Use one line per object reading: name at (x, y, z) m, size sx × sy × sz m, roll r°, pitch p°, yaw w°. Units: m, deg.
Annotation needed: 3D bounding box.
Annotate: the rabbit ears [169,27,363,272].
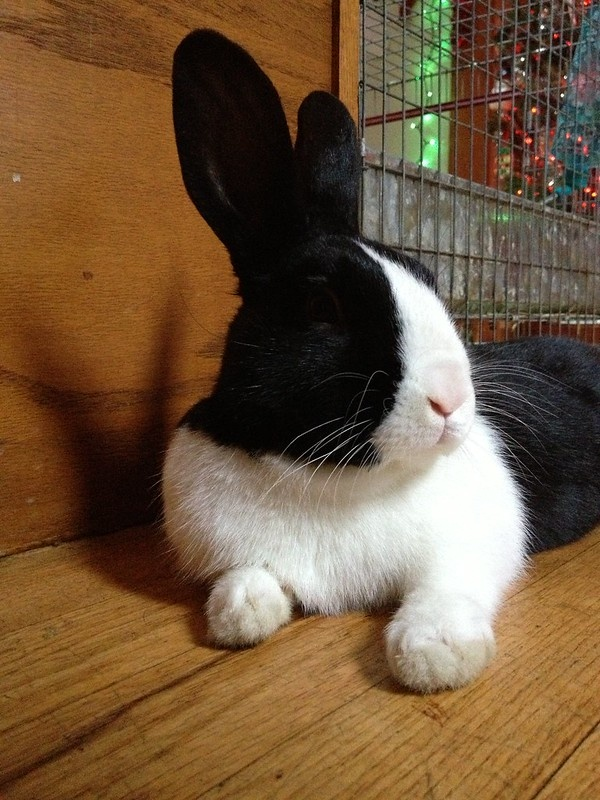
rabbit ears at (-0.092, -0.338, 1.134) m, size 0.280 × 0.363 × 0.149 m, roll -16°, pitch 2°, yaw -31°
